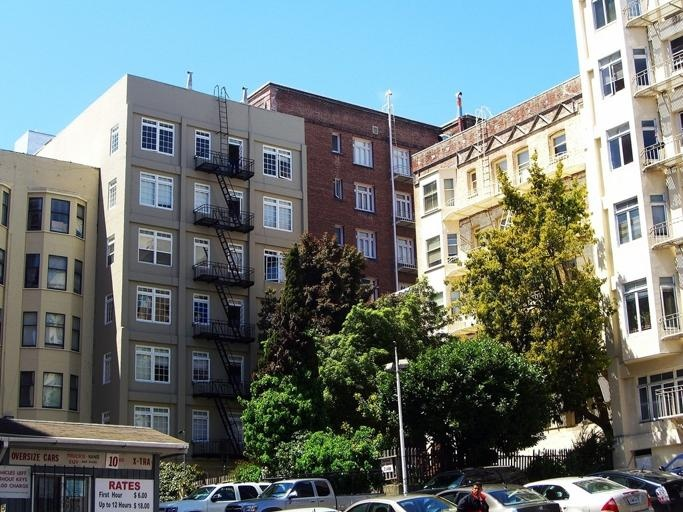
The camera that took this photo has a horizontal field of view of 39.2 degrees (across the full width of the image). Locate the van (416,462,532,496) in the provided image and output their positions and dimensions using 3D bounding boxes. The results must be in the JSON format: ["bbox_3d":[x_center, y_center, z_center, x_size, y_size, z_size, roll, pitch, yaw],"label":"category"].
[{"bbox_3d":[5.021,9.159,39.063,3.623,1.542,1.877,-14,-22,25],"label":"van"}]
